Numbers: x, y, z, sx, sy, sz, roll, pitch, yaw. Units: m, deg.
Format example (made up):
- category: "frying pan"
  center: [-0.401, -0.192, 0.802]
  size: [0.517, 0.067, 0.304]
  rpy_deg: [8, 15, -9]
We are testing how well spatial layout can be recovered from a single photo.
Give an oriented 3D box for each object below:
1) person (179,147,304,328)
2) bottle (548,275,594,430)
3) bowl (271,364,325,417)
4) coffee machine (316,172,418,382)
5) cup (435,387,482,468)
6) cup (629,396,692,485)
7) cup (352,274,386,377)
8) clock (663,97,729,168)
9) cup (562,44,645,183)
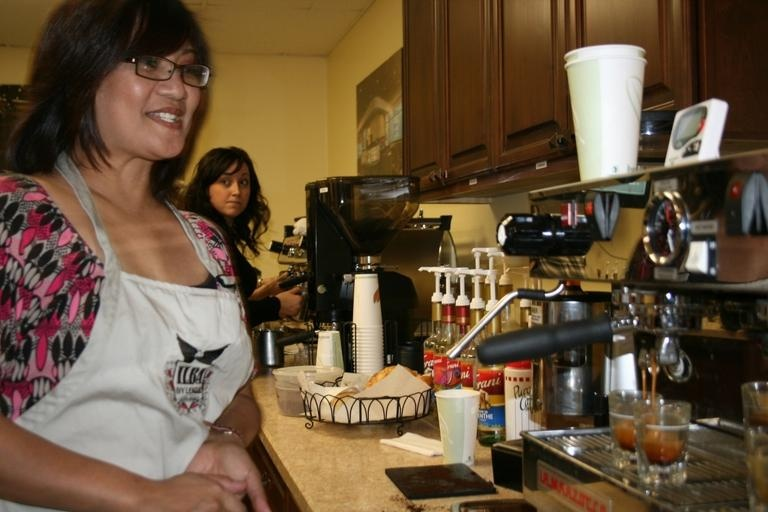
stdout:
- category: "person"
  center: [-0.723, -0.130, 2.934]
  size: [0.460, 0.735, 0.719]
  rpy_deg: [-9, 28, -43]
- category: "bottle"
  center: [0.399, 0.214, 1.305]
  size: [0.109, 0.313, 0.077]
  rpy_deg: [-1, 4, 19]
- category: "bowl"
  center: [-0.285, 0.416, 1.869]
  size: [0.139, 0.107, 0.140]
  rpy_deg: [0, -2, 0]
- category: "coffee machine"
  center: [-0.090, 0.069, 2.443]
  size: [0.422, 0.783, 0.404]
  rpy_deg: [-1, 10, -1]
- category: "cup"
  center: [0.194, 0.411, 1.477]
  size: [0.093, 0.172, 0.164]
  rpy_deg: [0, 5, 31]
- category: "cup"
  center: [0.449, 0.301, 0.971]
  size: [0.080, 0.110, 0.111]
  rpy_deg: [-1, 5, 26]
- category: "cup"
  center: [-0.059, 0.232, 2.092]
  size: [0.099, 0.331, 0.080]
  rpy_deg: [-3, 4, -3]
- category: "clock"
  center: [0.483, -0.181, 0.935]
  size: [0.032, 0.099, 0.100]
  rpy_deg: [14, 0, -5]
- category: "cup"
  center: [0.405, -0.261, 1.069]
  size: [0.173, 0.251, 0.112]
  rpy_deg: [-7, 6, -43]
